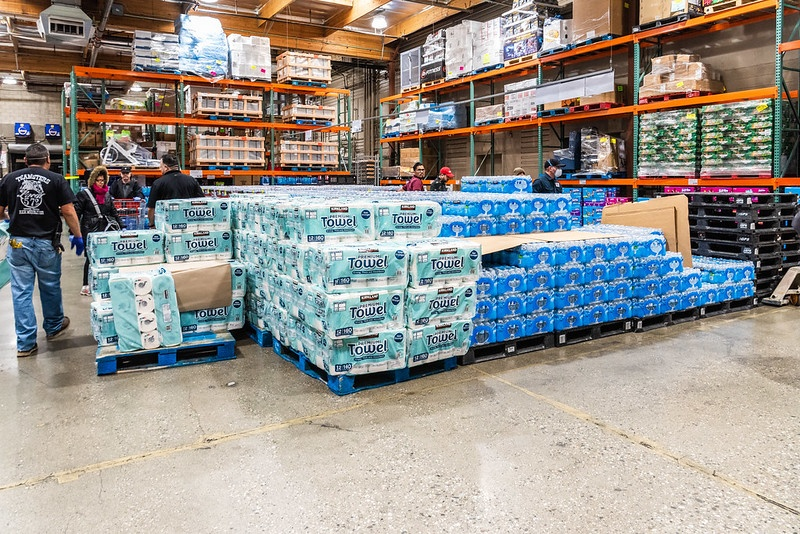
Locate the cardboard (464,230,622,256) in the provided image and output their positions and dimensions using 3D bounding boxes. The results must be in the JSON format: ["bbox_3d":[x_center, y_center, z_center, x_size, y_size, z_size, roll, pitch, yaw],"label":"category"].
[{"bbox_3d":[1.604,-0.329,6.702,1.974,0.140,0.540,-7,15,-27],"label":"cardboard"}]

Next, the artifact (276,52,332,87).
[{"bbox_3d":[-2.868,-5.857,16.504,1.289,0.706,1.222,-2,10,-17],"label":"artifact"}]

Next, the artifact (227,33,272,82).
[{"bbox_3d":[-4.433,-5.984,16.001,1.517,1.086,1.488,11,16,34],"label":"artifact"}]

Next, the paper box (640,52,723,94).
[{"bbox_3d":[5.251,-3.617,10.521,1.132,0.675,1.133,-10,12,-42],"label":"paper box"}]

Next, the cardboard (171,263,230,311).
[{"bbox_3d":[-2.253,0.228,6.445,0.568,0.380,0.547,-4,2,22],"label":"cardboard"}]

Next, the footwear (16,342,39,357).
[{"bbox_3d":[-4.310,0.966,6.478,0.189,0.100,0.236,11,18,39],"label":"footwear"}]

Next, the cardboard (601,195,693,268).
[{"bbox_3d":[3.772,-0.490,8.578,1.230,1.060,0.638,-5,-3,21],"label":"cardboard"}]

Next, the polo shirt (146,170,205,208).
[{"bbox_3d":[-3.271,-1.118,8.173,0.842,0.591,0.414,-14,18,-33],"label":"polo shirt"}]

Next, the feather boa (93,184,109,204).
[{"bbox_3d":[-4.703,-1.152,8.783,0.228,0.247,0.267,1,3,-29],"label":"feather boa"}]
